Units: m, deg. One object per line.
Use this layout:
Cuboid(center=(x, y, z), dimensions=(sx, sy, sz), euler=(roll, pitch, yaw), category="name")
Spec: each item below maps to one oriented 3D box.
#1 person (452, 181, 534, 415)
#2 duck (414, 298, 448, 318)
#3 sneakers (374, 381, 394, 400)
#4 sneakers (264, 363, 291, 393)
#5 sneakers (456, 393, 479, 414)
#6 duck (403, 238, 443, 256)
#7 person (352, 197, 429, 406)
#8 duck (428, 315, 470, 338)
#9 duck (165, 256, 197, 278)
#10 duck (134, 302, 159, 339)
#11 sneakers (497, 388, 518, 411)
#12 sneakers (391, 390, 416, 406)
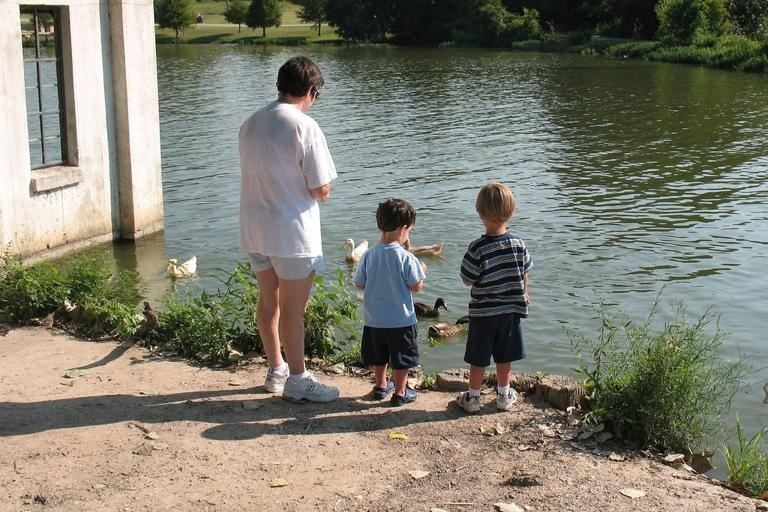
Cuboid(center=(1.349, 0.544, 10.042), dimensions=(0.827, 2.756, 0.740), euler=(3, 17, 8), category="person")
Cuboid(center=(0.876, 0.937, 15.001), dimensions=(0.719, 0.416, 0.280), euler=(6, 11, 13), category="duck")
Cuboid(center=(0.008, 1.725, 10.484), dimensions=(0.124, 0.126, 0.314), euler=(7, 14, 31), category="sneakers")
Cuboid(center=(-1.344, 1.551, 10.387), dimensions=(0.209, 0.217, 0.502), euler=(1, 15, 11), category="sneakers")
Cuboid(center=(1.045, 1.825, 10.167), dimensions=(0.159, 0.153, 0.328), euler=(-4, 15, -17), category="sneakers")
Cuboid(center=(0.694, -0.154, 17.862), dimensions=(1.142, 0.452, 0.364), euler=(-2, -8, 14), category="duck")
Cuboid(center=(0.078, 0.588, 10.144), dimensions=(0.813, 2.523, 0.552), euler=(7, 18, 21), category="person")
Cuboid(center=(1.158, 1.212, 14.247), dimensions=(0.896, 0.297, 0.297), euler=(-6, 12, -36), category="duck")
Cuboid(center=(-4.042, 0.244, 16.419), dimensions=(0.565, 0.346, 0.393), euler=(-3, 17, -12), category="duck")
Cuboid(center=(-3.473, 0.968, 11.976), dimensions=(0.340, 0.457, 0.148), euler=(21, 9, 40), category="duck")
Cuboid(center=(1.535, 1.794, 10.214), dimensions=(0.154, 0.159, 0.369), euler=(5, 17, 27), category="sneakers")
Cuboid(center=(0.268, 1.782, 10.297), dimensions=(0.341, 0.138, 0.139), euler=(-10, 14, -39), category="sneakers")
